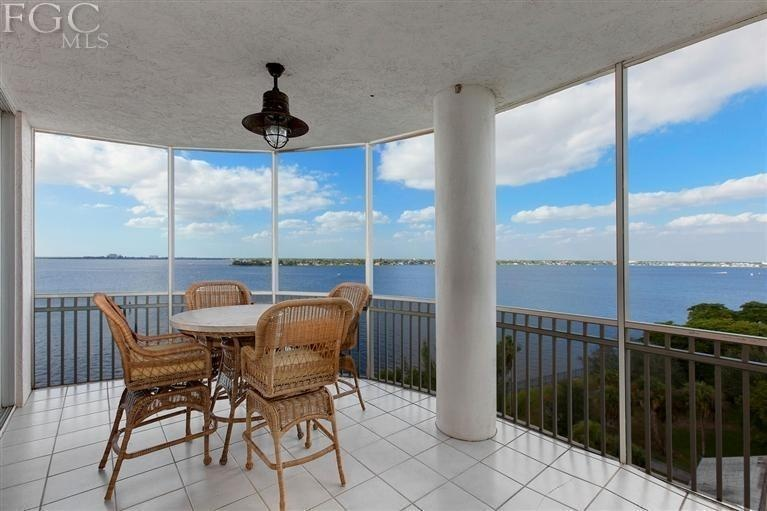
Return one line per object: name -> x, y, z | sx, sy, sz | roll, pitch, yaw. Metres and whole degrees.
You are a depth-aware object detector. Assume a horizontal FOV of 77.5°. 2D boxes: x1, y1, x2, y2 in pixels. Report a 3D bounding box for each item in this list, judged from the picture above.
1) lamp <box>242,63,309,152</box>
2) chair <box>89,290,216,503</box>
lamp -> -1.175, -1.621, 5.201 | 0.692, 0.923, 0.661 | -2, 5, -34
chair -> -2.531, 1.274, 6.192 | 1.913, 2.886, 1.612 | 0, 1, -25
